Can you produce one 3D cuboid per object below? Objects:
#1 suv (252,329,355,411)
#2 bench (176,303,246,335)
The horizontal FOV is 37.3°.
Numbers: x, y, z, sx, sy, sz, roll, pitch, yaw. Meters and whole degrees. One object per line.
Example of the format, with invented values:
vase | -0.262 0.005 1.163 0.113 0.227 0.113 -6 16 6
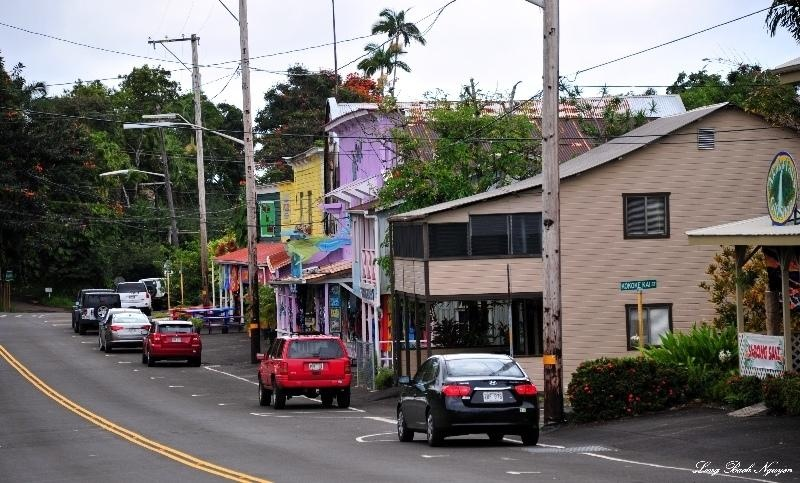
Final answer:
suv | -3.436 4.855 43.617 3.198 2.730 1.898 0 -6 0
bench | -11.837 4.783 73.250 5.711 2.105 2.679 0 -3 -10
